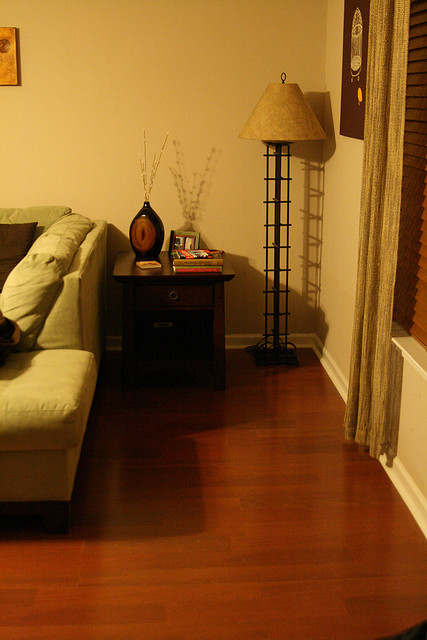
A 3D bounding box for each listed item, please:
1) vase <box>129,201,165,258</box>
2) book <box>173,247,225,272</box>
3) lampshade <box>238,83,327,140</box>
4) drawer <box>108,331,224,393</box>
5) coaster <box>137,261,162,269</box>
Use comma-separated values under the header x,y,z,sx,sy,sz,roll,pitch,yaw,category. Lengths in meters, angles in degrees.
x,y,z,sx,sy,sz,roll,pitch,yaw,category
-0.410,-0.552,3.185,0.217,0.371,0.213,-2,-5,-2,vase
-0.080,-0.370,3.079,0.298,0.106,0.475,0,14,1,book
0.417,-1.216,3.029,0.525,0.330,0.534,5,14,12,lampshade
-0.330,0.165,3.246,0.684,0.348,0.782,-3,14,-11,drawer
-0.367,-0.317,2.951,0.135,0.031,0.073,-4,15,-13,coaster
